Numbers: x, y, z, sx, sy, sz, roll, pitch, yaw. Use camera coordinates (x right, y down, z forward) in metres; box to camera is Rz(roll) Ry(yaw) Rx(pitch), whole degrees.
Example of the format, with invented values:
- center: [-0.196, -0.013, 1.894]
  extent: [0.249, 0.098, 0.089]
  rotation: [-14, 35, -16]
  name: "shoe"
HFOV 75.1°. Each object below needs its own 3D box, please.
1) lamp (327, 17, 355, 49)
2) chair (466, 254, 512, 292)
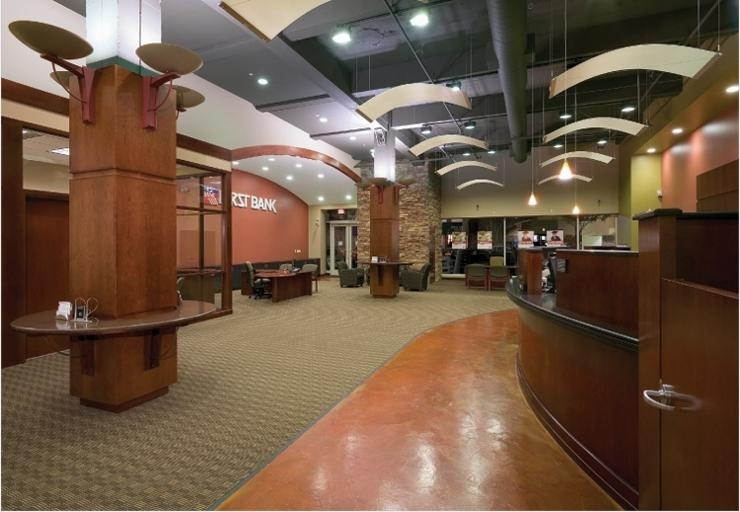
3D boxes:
- center: [-0.492, -4.003, 8.638]
  extent: [0.521, 0.512, 0.539]
  rotation: [2, -21, -3]
  name: "lamp"
- center: [3.840, 0.392, 15.434]
  extent: [1.198, 0.867, 1.231]
  rotation: [2, 7, 16]
  name: "chair"
